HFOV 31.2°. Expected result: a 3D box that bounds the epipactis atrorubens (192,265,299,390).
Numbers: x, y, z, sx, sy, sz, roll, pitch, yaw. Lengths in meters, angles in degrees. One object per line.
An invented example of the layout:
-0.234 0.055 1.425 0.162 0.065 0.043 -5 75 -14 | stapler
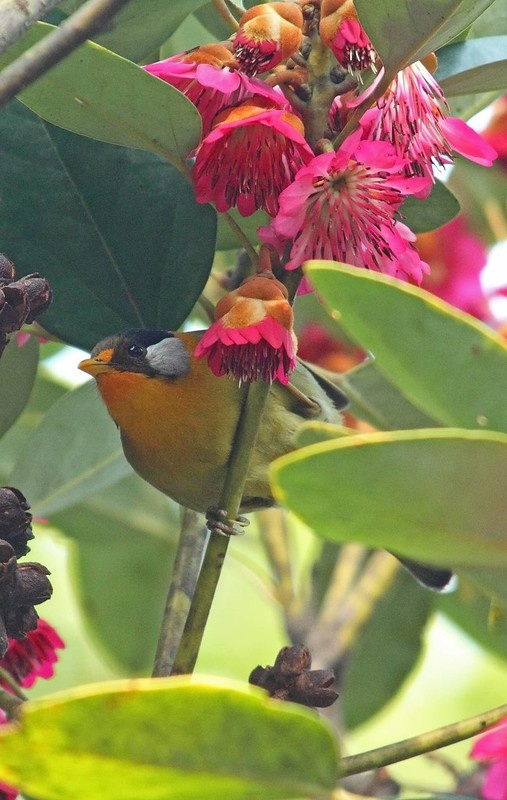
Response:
0.000 -0.078 0.951 0.101 0.107 0.066 11 -20 1 | epipactis atrorubens

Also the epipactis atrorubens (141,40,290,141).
-0.063 -0.333 1.034 0.127 0.107 0.197 3 4 20 | epipactis atrorubens

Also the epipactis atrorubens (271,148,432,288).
0.087 -0.226 1.071 0.092 0.200 0.179 52 -10 46 | epipactis atrorubens
